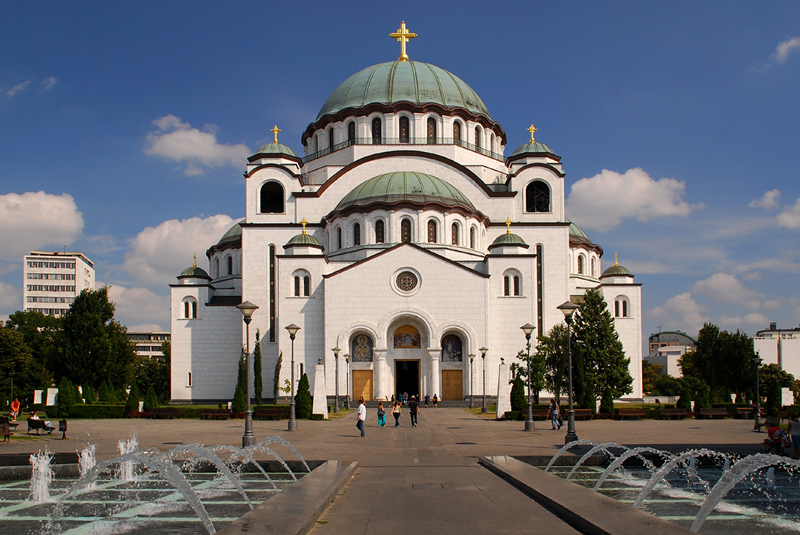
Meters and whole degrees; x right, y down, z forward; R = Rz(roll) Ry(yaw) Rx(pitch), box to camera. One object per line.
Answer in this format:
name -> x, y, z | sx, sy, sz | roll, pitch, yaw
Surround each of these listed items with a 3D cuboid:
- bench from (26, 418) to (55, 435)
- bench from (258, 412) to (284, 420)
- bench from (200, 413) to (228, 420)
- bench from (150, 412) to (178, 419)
bench -> -18.108, 8.227, 58.095 | 1.431, 0.866, 1.135 | 1, -3, -10
bench -> -7.360, 8.575, 65.915 | 0.921, 0.200, 0.395 | 4, 11, 11
bench -> -10.673, 8.616, 66.296 | 1.201, 0.393, 0.390 | 1, -6, 6
bench -> -13.924, 8.594, 67.540 | 1.749, 0.541, 0.492 | -4, -14, 16
